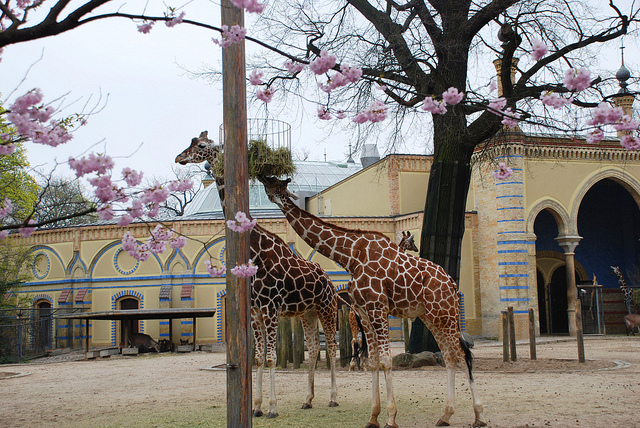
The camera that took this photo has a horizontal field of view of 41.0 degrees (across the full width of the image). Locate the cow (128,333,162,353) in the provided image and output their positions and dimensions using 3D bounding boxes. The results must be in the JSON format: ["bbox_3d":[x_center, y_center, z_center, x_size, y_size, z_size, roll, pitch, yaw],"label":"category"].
[{"bbox_3d":[-8.367,6.080,40.735,1.541,0.950,0.670,1,-12,-16],"label":"cow"}]
